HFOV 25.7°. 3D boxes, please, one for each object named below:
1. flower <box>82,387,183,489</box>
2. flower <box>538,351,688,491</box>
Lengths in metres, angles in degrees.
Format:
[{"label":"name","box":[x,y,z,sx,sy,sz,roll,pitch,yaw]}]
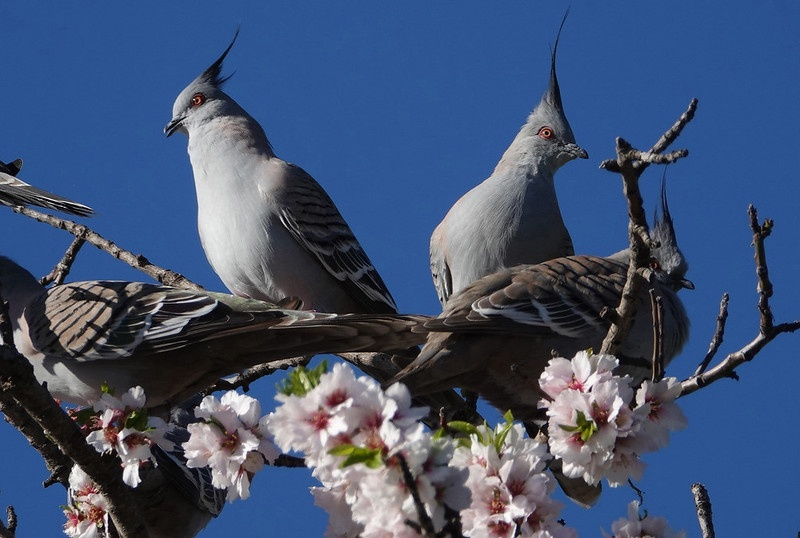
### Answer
[{"label":"flower","box":[-1.297,0.829,8.396,0.457,0.456,0.344,-16,-14,39]},{"label":"flower","box":[0.981,0.691,8.014,0.667,0.611,0.237,-3,13,-3]}]
